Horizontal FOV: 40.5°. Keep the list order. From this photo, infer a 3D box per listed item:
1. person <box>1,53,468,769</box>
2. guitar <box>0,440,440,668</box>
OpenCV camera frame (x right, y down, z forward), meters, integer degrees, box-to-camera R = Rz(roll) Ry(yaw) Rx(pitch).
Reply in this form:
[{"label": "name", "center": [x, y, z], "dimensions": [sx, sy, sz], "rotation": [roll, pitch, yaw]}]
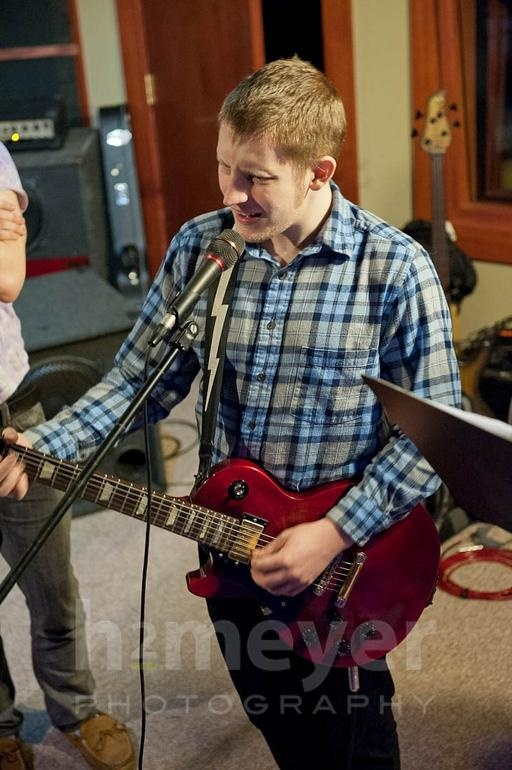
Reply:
[{"label": "person", "center": [-0.039, 0.120, 1.102], "dimensions": [0.617, 1.174, 0.354], "rotation": [-11, 19, -19]}, {"label": "guitar", "center": [-0.068, 0.291, 1.143], "dimensions": [0.632, 0.209, 0.081], "rotation": [19, 9, -10]}]
